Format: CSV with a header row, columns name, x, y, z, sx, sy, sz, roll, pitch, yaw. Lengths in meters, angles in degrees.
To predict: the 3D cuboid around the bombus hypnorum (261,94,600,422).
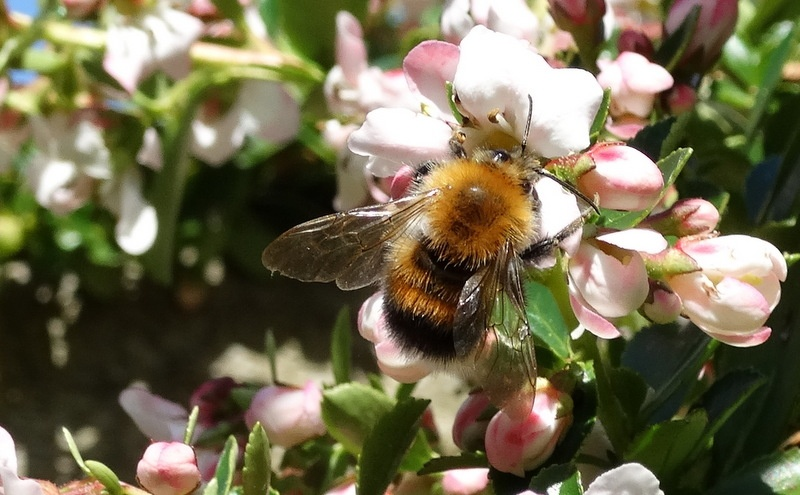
name,x,y,z,sx,sy,sz,roll,pitch,yaw
bombus hypnorum,0.068,-0.013,1.186,0.426,0.383,0.131,26,18,-6
